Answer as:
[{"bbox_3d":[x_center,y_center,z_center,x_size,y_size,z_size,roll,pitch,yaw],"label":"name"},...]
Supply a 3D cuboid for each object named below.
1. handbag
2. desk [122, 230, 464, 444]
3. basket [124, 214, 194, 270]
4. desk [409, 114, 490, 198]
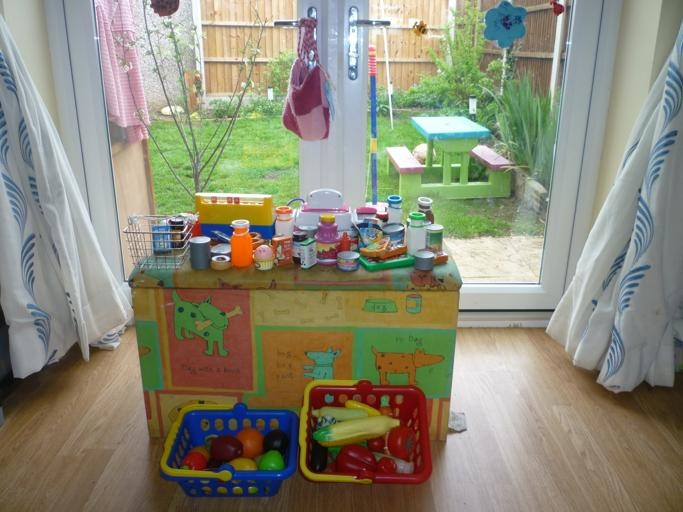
[{"bbox_3d":[-0.193,-0.719,2.307,0.238,0.355,0.205,0,9,0],"label":"handbag"},{"bbox_3d":[-0.165,0.293,1.863,0.957,0.572,0.698,2,24,-3],"label":"desk"},{"bbox_3d":[-0.707,-0.056,1.994,0.206,0.186,0.216,-2,27,-7],"label":"basket"},{"bbox_3d":[0.553,-0.563,2.665,0.291,0.287,0.456,-5,30,-3],"label":"desk"}]
